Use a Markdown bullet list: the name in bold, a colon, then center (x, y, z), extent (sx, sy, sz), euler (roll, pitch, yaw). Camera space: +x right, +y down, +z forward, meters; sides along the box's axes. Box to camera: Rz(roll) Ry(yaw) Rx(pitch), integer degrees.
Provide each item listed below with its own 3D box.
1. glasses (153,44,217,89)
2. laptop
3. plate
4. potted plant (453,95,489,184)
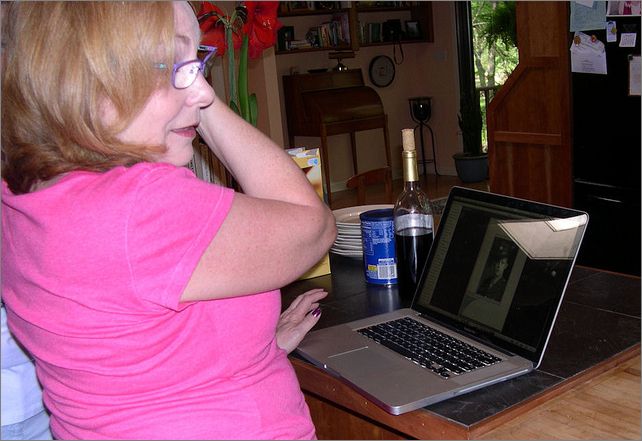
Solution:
- **glasses**: center (-0.222, -0.242, 0.825), extent (0.098, 0.031, 0.101), euler (9, 27, 22)
- **laptop**: center (0.259, 0.160, 1.093), extent (0.520, 0.336, 0.470), euler (-1, 9, -29)
- **plate**: center (0.140, 0.018, 1.682), extent (0.186, 0.079, 0.188), euler (0, 12, 2)
- **potted plant**: center (1.921, -1.055, 6.460), extent (0.412, 1.107, 0.616), euler (4, 18, 16)
